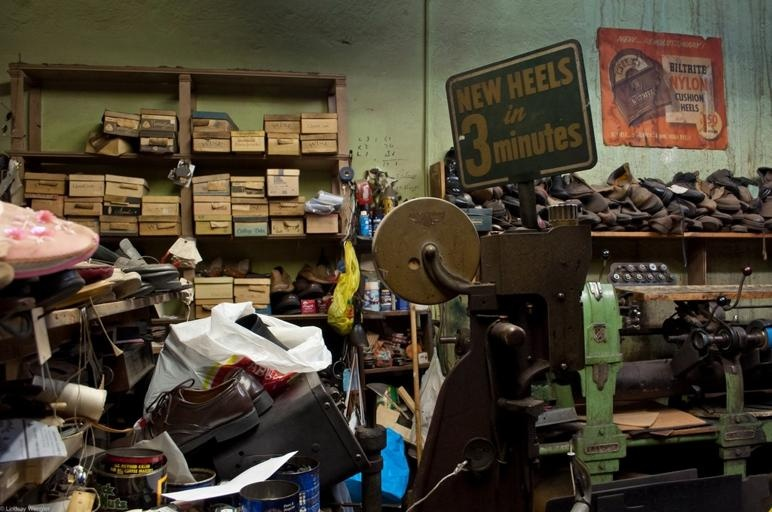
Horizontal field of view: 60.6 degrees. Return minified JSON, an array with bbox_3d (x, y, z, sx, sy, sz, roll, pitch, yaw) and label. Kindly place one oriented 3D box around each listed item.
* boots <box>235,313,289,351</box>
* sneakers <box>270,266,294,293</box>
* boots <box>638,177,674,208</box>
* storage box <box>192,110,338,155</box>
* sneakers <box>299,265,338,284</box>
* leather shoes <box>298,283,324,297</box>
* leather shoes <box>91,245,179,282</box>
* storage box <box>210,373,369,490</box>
[{"bbox_3d":[-0.764,0.471,4.110,0.319,0.228,0.336,0,-3,-9],"label":"boots"},{"bbox_3d":[-0.889,0.199,5.639,0.164,0.206,0.074,9,-43,-37],"label":"sneakers"},{"bbox_3d":[2.480,-0.589,6.024,0.282,0.111,0.221,19,20,-38],"label":"boots"},{"bbox_3d":[-0.996,-1.018,5.530,1.179,0.358,0.153,0,-3,-4],"label":"storage box"},{"bbox_3d":[-0.568,0.162,5.699,0.250,0.084,0.183,18,23,21],"label":"sneakers"},{"bbox_3d":[-0.613,0.293,5.596,0.230,0.094,0.091,-7,-43,10],"label":"leather shoes"},{"bbox_3d":[-1.570,0.024,4.028,0.584,0.245,0.185,0,-7,-40],"label":"leather shoes"},{"bbox_3d":[-0.520,1.064,3.719,0.610,0.396,0.617,-30,-4,-7],"label":"storage box"}]
